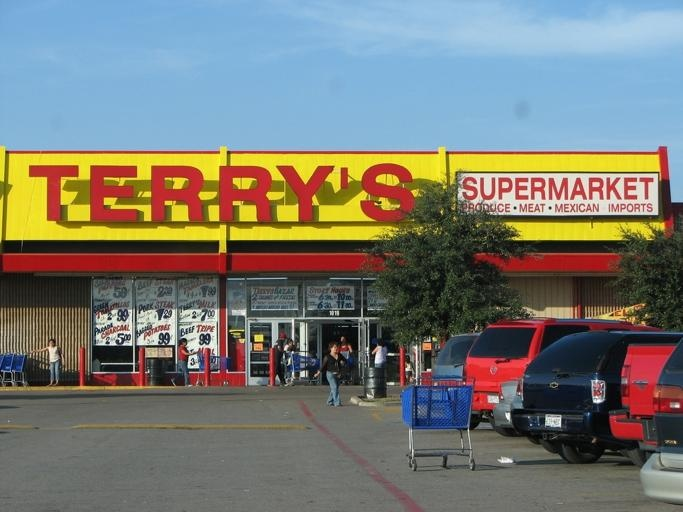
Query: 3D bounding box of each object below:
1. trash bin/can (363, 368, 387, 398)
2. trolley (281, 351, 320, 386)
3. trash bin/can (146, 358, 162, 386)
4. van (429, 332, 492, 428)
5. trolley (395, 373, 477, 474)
[{"bbox_3d":[1.024,3.824,43.582,0.592,0.929,0.565,-3,-8,1],"label":"trash bin/can"},{"bbox_3d":[-1.331,4.032,52.795,1.741,1.114,1.091,-4,17,-18],"label":"trolley"},{"bbox_3d":[-6.548,4.157,51.768,0.556,0.998,0.520,-2,-8,-8],"label":"trash bin/can"},{"bbox_3d":[2.869,2.675,36.053,1.403,1.238,2.448,-1,-1,4],"label":"van"},{"bbox_3d":[2.028,3.542,31.052,1.487,1.795,1.395,-2,-4,7],"label":"trolley"}]
